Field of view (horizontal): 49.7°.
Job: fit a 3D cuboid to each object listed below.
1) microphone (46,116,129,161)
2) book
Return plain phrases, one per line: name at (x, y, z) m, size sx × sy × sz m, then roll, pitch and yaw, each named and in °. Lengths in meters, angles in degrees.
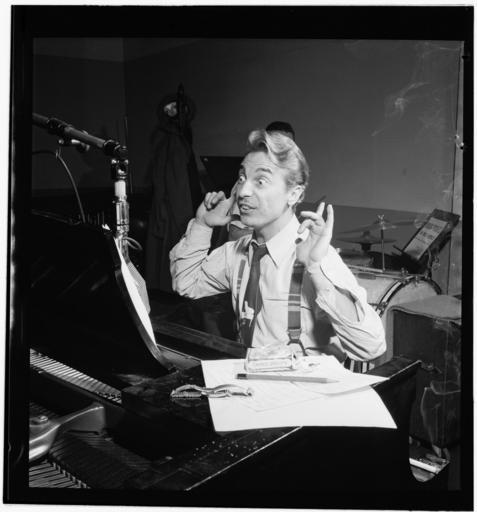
microphone at (-0.543, -0.411, 1.785) m, size 0.382 × 0.059 × 0.054 m, roll 24°, pitch 11°, yaw 24°
book at (0.170, 0.380, 1.429) m, size 0.527 × 0.105 × 0.428 m, roll 1°, pitch 8°, yaw -11°
